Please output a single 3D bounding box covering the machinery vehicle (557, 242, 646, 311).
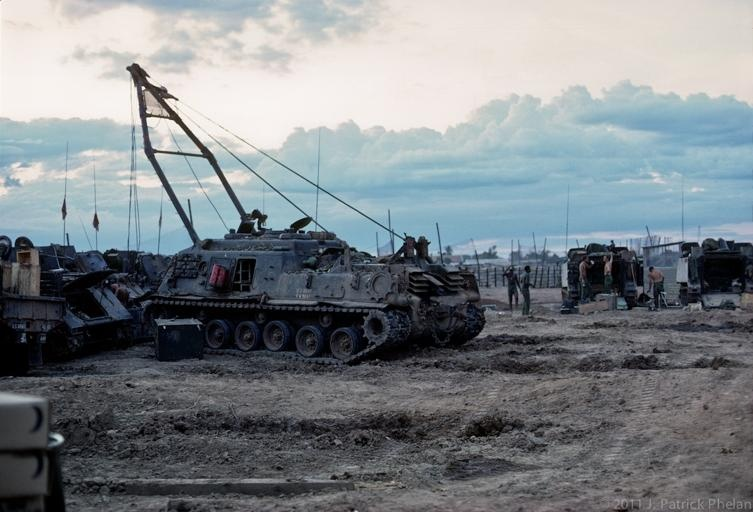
[{"bbox_3d":[9.938,0.802,35.430,3.017,2.484,4.337,0,7,16],"label":"machinery vehicle"}]

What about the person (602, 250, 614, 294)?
[{"bbox_3d":[9.564,0.699,32.754,0.297,1.610,0.766,-2,-2,12],"label":"person"}]

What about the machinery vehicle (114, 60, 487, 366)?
[{"bbox_3d":[-2.130,-0.576,25.454,11.971,9.176,6.075,0,0,31],"label":"machinery vehicle"}]
